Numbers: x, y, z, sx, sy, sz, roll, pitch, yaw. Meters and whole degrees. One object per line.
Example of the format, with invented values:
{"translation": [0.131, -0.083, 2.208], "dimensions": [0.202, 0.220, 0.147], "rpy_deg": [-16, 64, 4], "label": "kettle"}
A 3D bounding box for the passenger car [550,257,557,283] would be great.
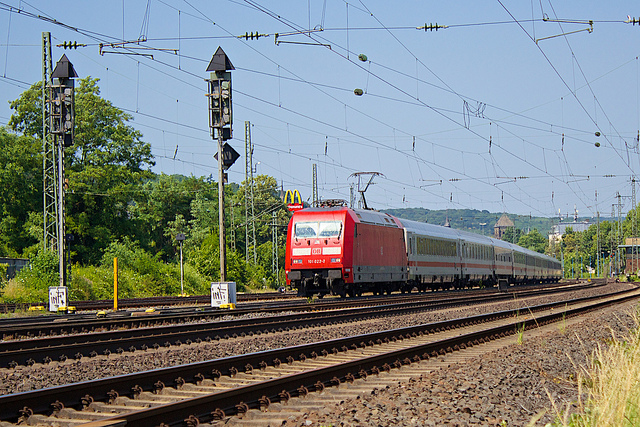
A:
{"translation": [26.450, 6.338, 85.930], "dimensions": [0.421, 2.609, 4.355], "rpy_deg": [0, -4, 19], "label": "passenger car"}

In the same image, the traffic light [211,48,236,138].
{"translation": [-3.791, -4.592, 29.092], "dimensions": [0.733, 3.365, 0.767], "rpy_deg": [-1, 24, -6], "label": "traffic light"}

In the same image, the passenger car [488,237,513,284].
{"translation": [13.568, 3.948, 59.466], "dimensions": [1.220, 2.702, 7.445], "rpy_deg": [7, -8, 22], "label": "passenger car"}

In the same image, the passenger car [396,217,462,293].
{"translation": [6.351, 2.584, 46.134], "dimensions": [1.757, 3.935, 10.476], "rpy_deg": [-6, -7, 28], "label": "passenger car"}

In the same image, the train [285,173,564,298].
{"translation": [7.946, 1.768, 46.854], "dimensions": [2.456, 5.338, 29.318], "rpy_deg": [-2, -6, 40], "label": "train"}
